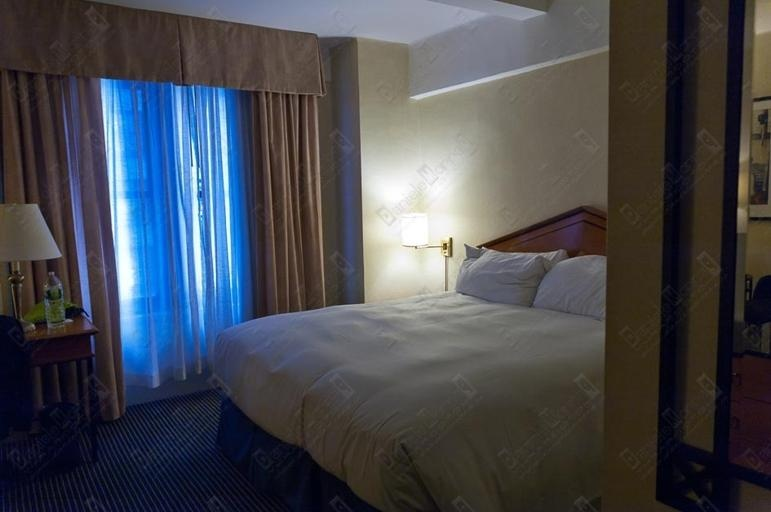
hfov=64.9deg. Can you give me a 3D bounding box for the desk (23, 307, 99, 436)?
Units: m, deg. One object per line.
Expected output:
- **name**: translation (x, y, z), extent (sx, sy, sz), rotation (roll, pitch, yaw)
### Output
- **desk**: translation (-2.171, 0.638, 4.272), extent (0.641, 0.843, 0.831), rotation (-3, 5, -32)

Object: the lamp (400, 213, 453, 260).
- **lamp**: translation (0.376, -0.192, 5.818), extent (0.460, 0.424, 0.295), rotation (-4, 1, 20)
